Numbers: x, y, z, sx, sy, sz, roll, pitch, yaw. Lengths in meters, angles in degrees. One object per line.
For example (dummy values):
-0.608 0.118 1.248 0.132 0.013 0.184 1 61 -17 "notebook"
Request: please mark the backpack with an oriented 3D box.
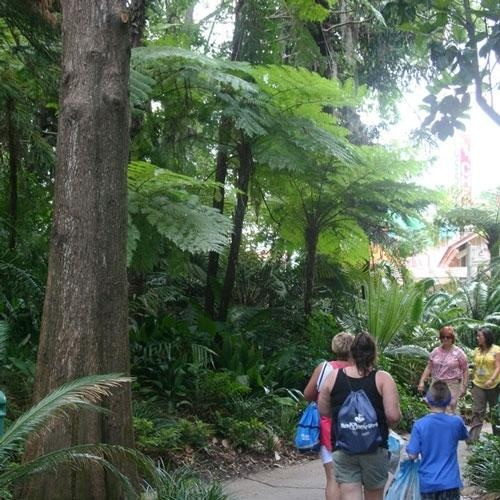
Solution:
0.799 1.179 4.733 0.293 0.658 0.211 -2 4 3 "backpack"
